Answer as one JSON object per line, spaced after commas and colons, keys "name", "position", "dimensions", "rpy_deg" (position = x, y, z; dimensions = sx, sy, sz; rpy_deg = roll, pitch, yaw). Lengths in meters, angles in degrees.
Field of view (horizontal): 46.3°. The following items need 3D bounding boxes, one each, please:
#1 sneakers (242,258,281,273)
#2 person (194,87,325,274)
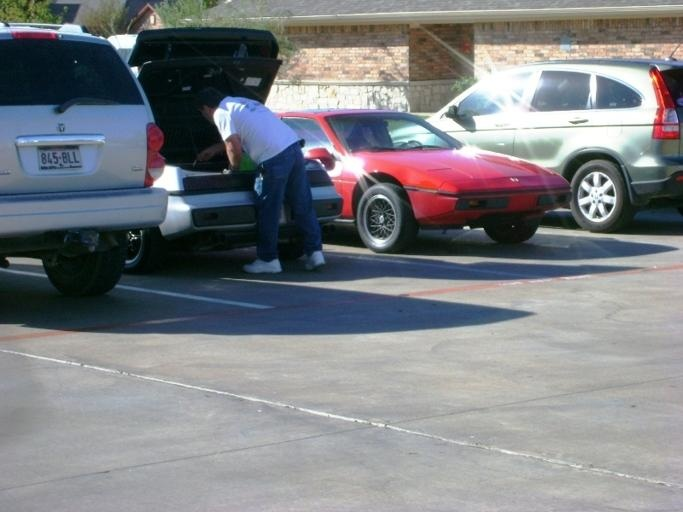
{"name": "sneakers", "position": [-0.843, 0.132, 9.006], "dimensions": [0.515, 0.147, 0.141], "rpy_deg": [2, 7, 5]}
{"name": "person", "position": [-0.840, -0.842, 8.988], "dimensions": [1.251, 2.094, 0.676], "rpy_deg": [-1, 14, 1]}
